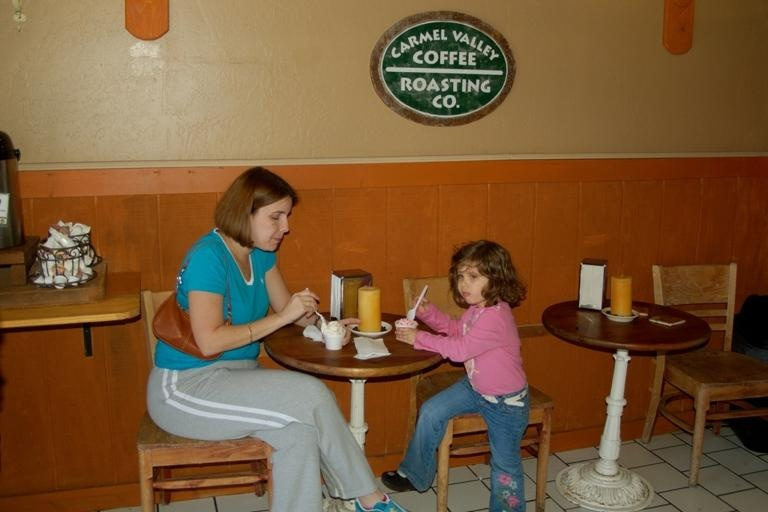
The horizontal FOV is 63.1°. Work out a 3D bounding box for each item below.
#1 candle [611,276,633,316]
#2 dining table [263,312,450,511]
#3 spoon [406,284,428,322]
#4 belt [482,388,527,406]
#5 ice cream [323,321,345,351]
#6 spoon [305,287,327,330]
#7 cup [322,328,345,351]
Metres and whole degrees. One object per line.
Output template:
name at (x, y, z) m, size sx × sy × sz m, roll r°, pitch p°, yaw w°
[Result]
candle at (1.225, 0.205, 3.206) m, size 0.100 × 0.197 × 0.071 m, roll 0°, pitch 10°, yaw 13°
dining table at (-0.156, 0.626, 2.907) m, size 0.740 × 0.772 × 0.690 m, roll -1°, pitch 4°, yaw -7°
spoon at (0.172, 0.219, 3.097) m, size 0.054 × 0.050 × 0.277 m, roll 2°, pitch 31°, yaw 31°
belt at (0.580, 0.672, 2.976) m, size 0.214 × 0.077 × 0.054 m, roll -1°, pitch 10°, yaw 4°
ice cream at (-0.224, 0.355, 2.773) m, size 0.101 × 0.106 × 0.119 m, roll 1°, pitch -4°, yaw 1°
spoon at (-0.307, 0.245, 2.913) m, size 0.075 × 0.198 × 0.113 m, roll -14°, pitch 17°, yaw -17°
cup at (-0.222, 0.369, 2.772) m, size 0.093 × 0.072 × 0.092 m, roll 0°, pitch 2°, yaw 0°
